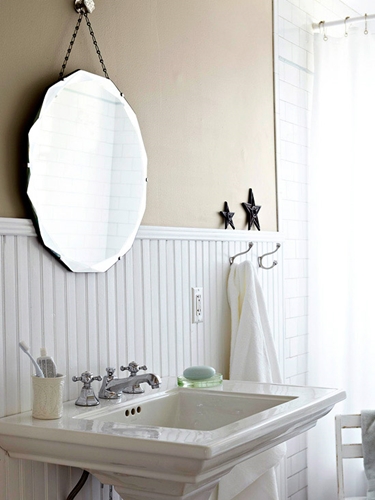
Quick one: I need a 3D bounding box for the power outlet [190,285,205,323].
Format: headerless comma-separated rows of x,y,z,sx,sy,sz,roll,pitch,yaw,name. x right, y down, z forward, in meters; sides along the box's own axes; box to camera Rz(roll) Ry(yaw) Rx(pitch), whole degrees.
0.045,0.204,1.682,0.012,0.136,0.066,6,-9,-42,power outlet

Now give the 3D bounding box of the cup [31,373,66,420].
-0.279,0.297,0.948,0.056,0.089,0.069,5,2,32,cup

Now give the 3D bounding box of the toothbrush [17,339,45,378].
-0.335,0.237,0.991,0.012,0.086,0.018,-14,-12,-32,toothbrush

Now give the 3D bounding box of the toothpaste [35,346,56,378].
-0.288,0.234,0.951,0.038,0.058,0.026,4,-7,-22,toothpaste

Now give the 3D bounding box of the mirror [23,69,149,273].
-0.242,-0.205,1.201,0.049,0.532,0.439,-2,-8,26,mirror

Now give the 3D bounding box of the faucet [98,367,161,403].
-0.155,0.334,1.139,0.183,0.114,0.069,-2,-1,8,faucet
